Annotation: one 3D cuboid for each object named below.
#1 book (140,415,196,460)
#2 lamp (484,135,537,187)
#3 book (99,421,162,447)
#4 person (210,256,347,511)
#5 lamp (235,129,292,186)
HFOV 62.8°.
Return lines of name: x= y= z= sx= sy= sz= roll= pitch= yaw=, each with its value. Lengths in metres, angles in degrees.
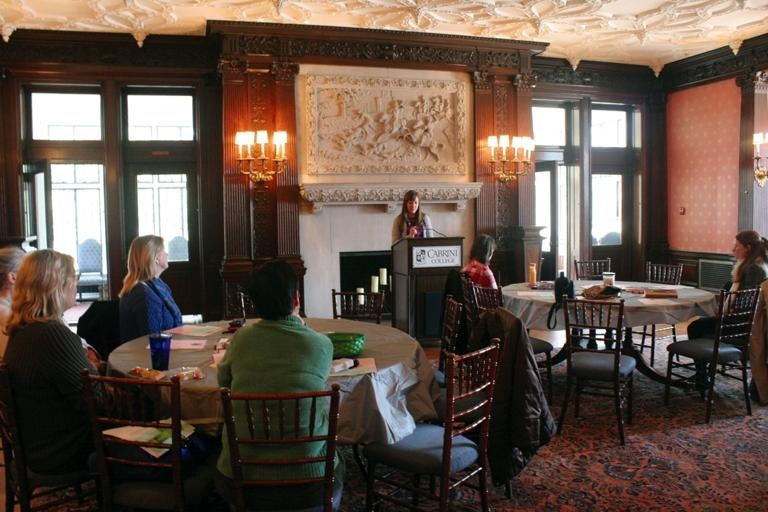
book: x=-1.397 y=1.136 z=4.085 sx=0.229 sy=0.059 sz=0.297 roll=13 pitch=21 yaw=15
lamp: x=1.684 y=-1.329 z=8.788 sx=0.802 sy=0.571 sz=0.564 roll=-1 pitch=-13 yaw=17
book: x=-1.627 y=1.153 z=4.122 sx=0.227 sy=0.056 sz=0.229 roll=3 pitch=2 yaw=1
person: x=-0.670 y=0.849 z=3.946 sx=0.789 sy=1.626 sz=0.331 roll=-2 pitch=3 yaw=-5
lamp: x=-1.530 y=-1.190 z=8.044 sx=0.623 sy=0.688 sz=0.617 roll=1 pitch=5 yaw=1
